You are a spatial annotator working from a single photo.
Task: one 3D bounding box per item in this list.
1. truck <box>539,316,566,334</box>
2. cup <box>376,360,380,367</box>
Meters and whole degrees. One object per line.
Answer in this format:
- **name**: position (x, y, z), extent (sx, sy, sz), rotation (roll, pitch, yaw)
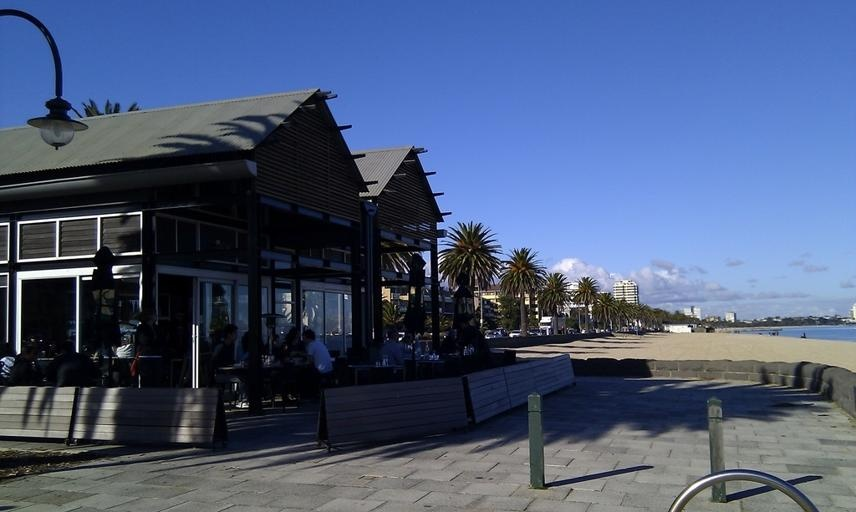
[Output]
- **truck**: position (17.767, 10.038, 102.670), extent (2.662, 2.545, 6.229), rotation (-4, -11, 29)
- **cup**: position (-1.473, 3.228, 21.113), extent (0.143, 0.180, 0.133), rotation (0, -13, 0)
